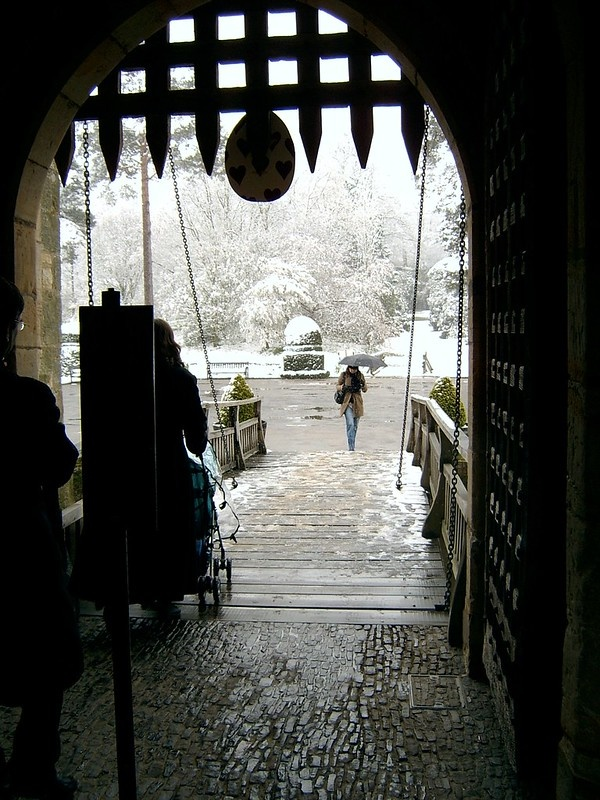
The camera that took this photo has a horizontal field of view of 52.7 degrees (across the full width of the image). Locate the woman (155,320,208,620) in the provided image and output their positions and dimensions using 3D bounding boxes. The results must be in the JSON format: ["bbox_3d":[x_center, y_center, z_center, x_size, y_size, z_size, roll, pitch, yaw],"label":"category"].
[{"bbox_3d":[-0.643,0.323,3.070,0.336,1.449,0.243,0,3,43],"label":"woman"}]

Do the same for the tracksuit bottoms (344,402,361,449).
[{"bbox_3d":[0.839,0.409,9.856,0.184,1.082,0.236,1,3,10],"label":"tracksuit bottoms"}]
